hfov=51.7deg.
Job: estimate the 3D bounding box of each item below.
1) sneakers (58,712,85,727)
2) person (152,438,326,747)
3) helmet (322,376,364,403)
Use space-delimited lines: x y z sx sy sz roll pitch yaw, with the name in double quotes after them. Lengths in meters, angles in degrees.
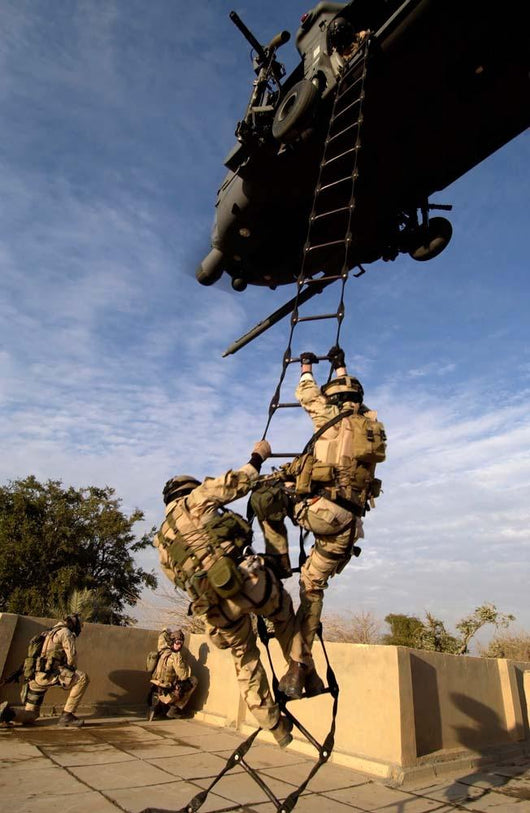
-2.491 4.086 7.098 0.295 0.157 0.096 9 -21 -9 "sneakers"
-0.228 1.203 3.779 1.051 1.955 0.935 13 -22 -16 "person"
0.632 -0.129 4.418 0.197 0.205 0.219 14 -5 -36 "helmet"
